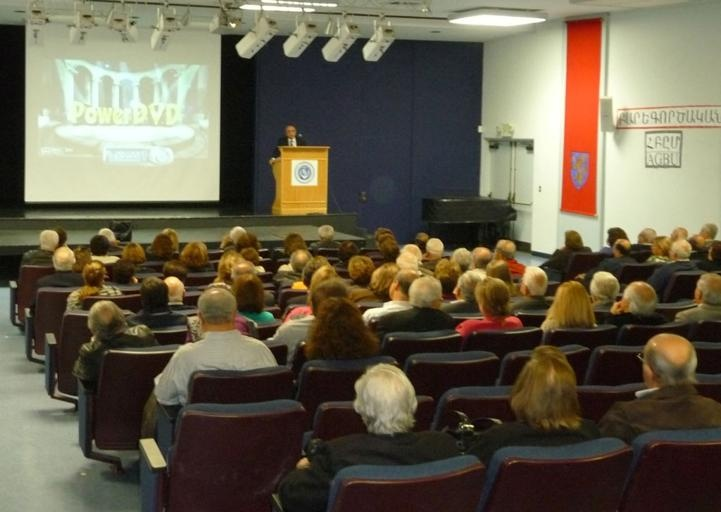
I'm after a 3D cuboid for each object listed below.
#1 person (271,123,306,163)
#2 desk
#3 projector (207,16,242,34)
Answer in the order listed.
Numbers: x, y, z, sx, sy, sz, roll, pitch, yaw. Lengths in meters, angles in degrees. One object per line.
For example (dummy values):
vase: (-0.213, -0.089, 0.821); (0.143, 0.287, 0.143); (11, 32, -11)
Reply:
person: (-1.620, -2.456, 13.828); (0.714, 0.612, 2.227); (-7, 14, -6)
desk: (2.420, -0.891, 15.187); (1.608, 0.997, 1.234); (-3, 7, -12)
projector: (-2.343, -3.933, 10.915); (0.442, 0.229, 0.739); (-11, 14, -18)
